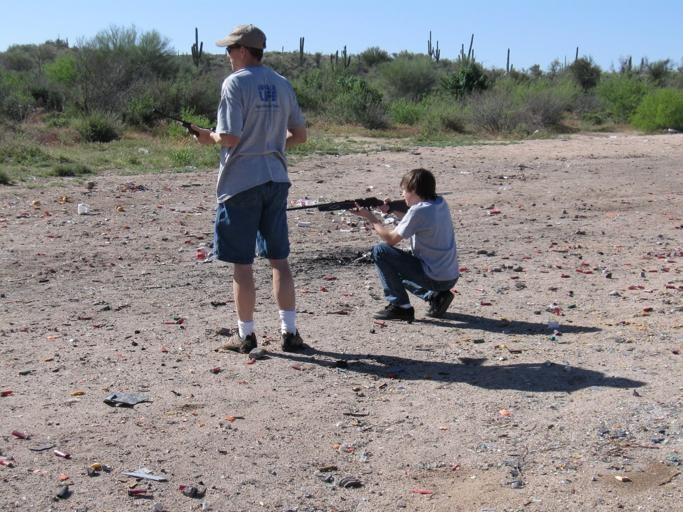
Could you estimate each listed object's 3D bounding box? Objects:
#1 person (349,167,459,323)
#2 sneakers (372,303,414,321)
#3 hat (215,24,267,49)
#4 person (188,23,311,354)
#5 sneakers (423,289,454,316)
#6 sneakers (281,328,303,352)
[{"bbox_3d":[0.673,-0.100,6.040,0.656,1.374,0.554,-6,14,-31],"label":"person"},{"bbox_3d":[0.469,0.507,6.178,0.380,0.127,0.141,4,2,1],"label":"sneakers"},{"bbox_3d":[-0.709,-1.633,5.006,0.278,0.168,0.150,-1,12,-9],"label":"hat"},{"bbox_3d":[-0.661,-0.485,5.231,0.804,2.508,0.516,-5,14,-27],"label":"person"},{"bbox_3d":[0.893,0.434,6.196,0.174,0.337,0.125,27,51,4],"label":"sneakers"},{"bbox_3d":[-0.391,0.681,5.366,0.121,0.079,0.214,0,6,5],"label":"sneakers"}]
